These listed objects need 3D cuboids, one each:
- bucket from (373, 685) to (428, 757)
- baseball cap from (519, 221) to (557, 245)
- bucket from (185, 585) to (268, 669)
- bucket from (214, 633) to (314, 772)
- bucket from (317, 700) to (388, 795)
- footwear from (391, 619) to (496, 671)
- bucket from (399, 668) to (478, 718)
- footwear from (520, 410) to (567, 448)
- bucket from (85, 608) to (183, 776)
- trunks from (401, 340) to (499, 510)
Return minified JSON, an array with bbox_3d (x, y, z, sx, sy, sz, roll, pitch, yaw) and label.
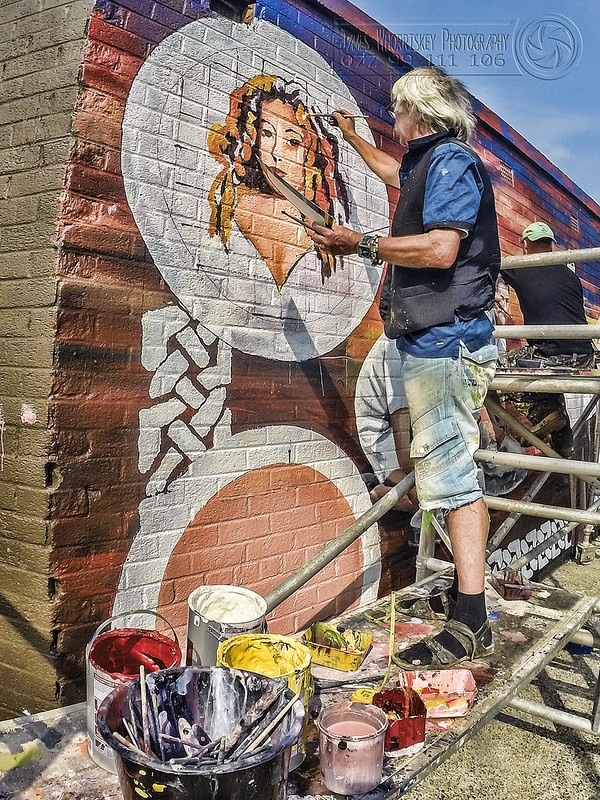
[{"bbox_3d":[0.210,0.728,1.468,0.115,0.133,0.148,-9,-24,34],"label":"bucket"},{"bbox_3d":[1.543,-1.073,4.162,0.178,0.113,0.237,6,5,3],"label":"baseball cap"},{"bbox_3d":[-0.190,0.561,1.591,0.222,0.200,0.193,-9,-18,27],"label":"bucket"},{"bbox_3d":[-0.035,0.612,1.382,0.267,0.231,0.253,2,-3,0],"label":"bucket"},{"bbox_3d":[0.087,0.681,1.264,0.144,0.122,0.137,1,-12,0],"label":"bucket"},{"bbox_3d":[0.439,0.695,1.875,0.326,0.108,0.109,-4,0,-20],"label":"footwear"},{"bbox_3d":[0.357,0.749,1.653,0.162,0.058,0.113,-3,-4,16],"label":"bucket"},{"bbox_3d":[1.400,0.165,3.672,0.119,0.121,0.273,22,-50,-27],"label":"footwear"},{"bbox_3d":[-0.353,0.590,1.335,0.187,0.267,0.181,6,7,-1],"label":"bucket"},{"bbox_3d":[0.447,0.079,2.025,0.205,0.487,0.281,-1,-4,27],"label":"trunks"}]
